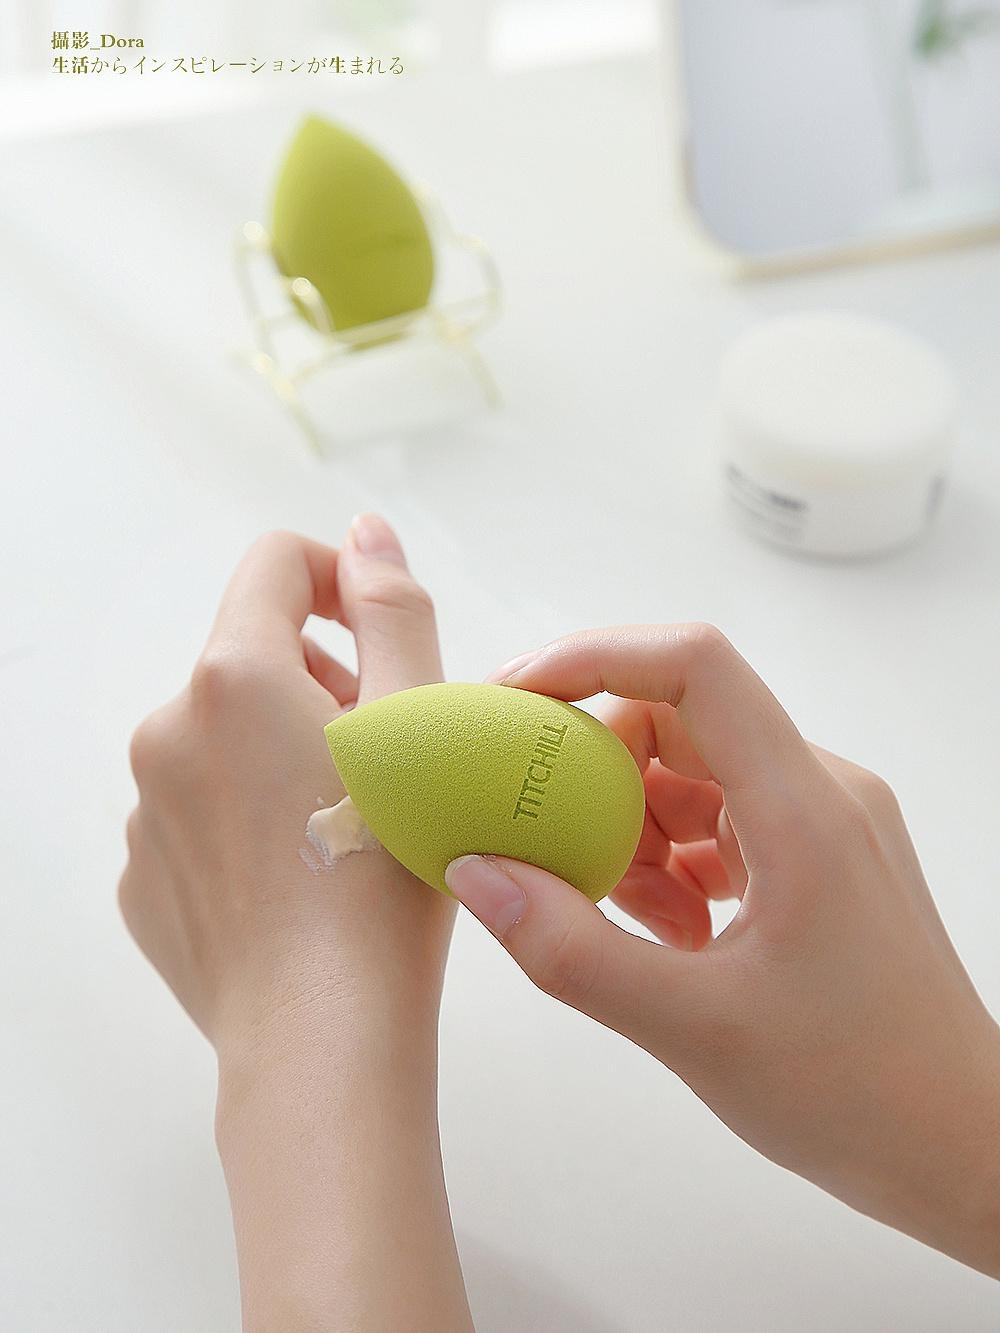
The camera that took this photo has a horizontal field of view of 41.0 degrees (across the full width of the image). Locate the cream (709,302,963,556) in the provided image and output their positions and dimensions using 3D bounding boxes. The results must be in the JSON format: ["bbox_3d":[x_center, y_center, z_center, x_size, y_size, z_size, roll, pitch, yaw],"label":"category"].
[{"bbox_3d":[0.317,-0.204,1.329,0.227,0.226,0.216,-23,39,-22],"label":"cream"}]
